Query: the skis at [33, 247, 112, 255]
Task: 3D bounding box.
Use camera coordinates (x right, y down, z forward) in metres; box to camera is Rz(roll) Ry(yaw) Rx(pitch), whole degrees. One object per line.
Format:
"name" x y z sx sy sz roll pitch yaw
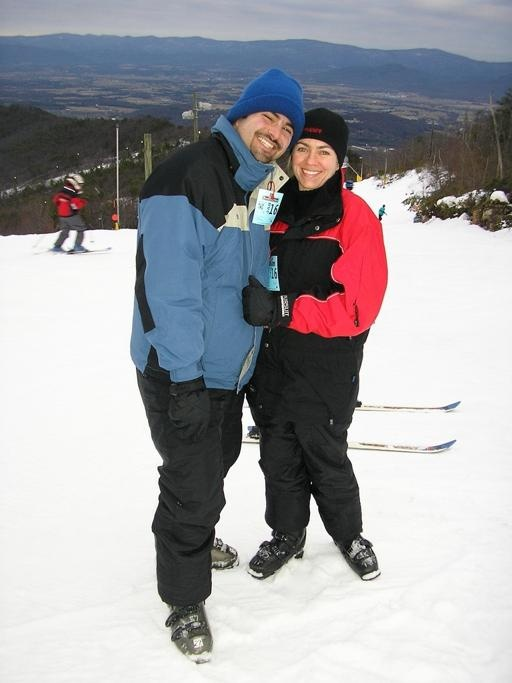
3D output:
"skis" -3.738 -1.811 11.890 1.065 0.109 0.152 -5 42 -16

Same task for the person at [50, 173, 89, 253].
"person" -3.738 -2.565 11.866 0.674 1.538 1.120 -2 14 -16

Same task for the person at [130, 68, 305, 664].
"person" -0.214 0.048 2.232 0.432 2.107 0.697 7 15 22

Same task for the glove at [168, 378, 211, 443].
"glove" -0.237 0.241 2.052 0.157 0.230 0.109 5 14 13
